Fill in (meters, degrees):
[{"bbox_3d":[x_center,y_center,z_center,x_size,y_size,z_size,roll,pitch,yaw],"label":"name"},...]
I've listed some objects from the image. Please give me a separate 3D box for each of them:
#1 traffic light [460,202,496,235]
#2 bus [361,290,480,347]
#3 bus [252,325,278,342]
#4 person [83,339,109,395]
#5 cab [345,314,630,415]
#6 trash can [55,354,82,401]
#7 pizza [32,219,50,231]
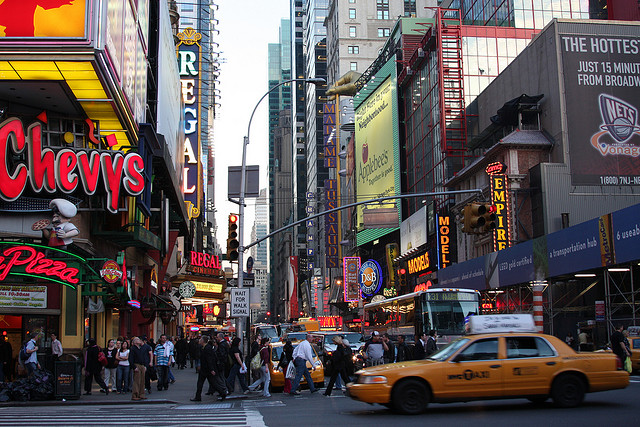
[{"bbox_3d":[7.064,0.220,38.711,1.347,1.364,1.192,5,-7,-32],"label":"traffic light"},{"bbox_3d":[6.118,7.444,55.613,4.082,4.397,15.815,0,-9,-11],"label":"bus"},{"bbox_3d":[-3.712,8.059,59.739,1.577,1.525,3.054,0,-16,-7],"label":"bus"},{"bbox_3d":[-10.861,7.333,41.384,1.060,2.605,1.330,1,-13,-15],"label":"person"},{"bbox_3d":[6.474,5.520,32.216,9.334,3.175,3.531,0,-6,-4],"label":"cab"},{"bbox_3d":[-11.420,7.332,38.838,1.464,1.697,1.488,1,-1,40],"label":"trash can"},{"bbox_3d":[-14.035,0.556,43.203,0.579,0.143,0.587,-29,41,-22],"label":"pizza"}]
